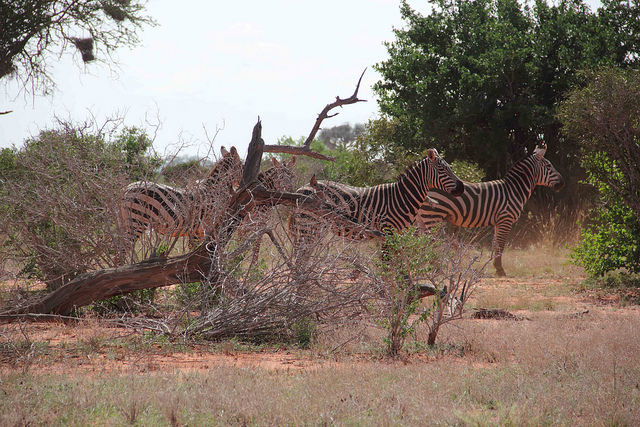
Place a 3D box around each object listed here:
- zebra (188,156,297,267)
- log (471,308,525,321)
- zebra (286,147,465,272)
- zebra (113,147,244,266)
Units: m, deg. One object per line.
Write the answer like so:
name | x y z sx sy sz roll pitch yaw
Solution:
zebra | -1.767 0.135 18.580 0.997 3.167 4.190 -8 7 -44
log | 3.941 2.264 16.175 1.051 0.277 0.627 6 -3 24
zebra | 1.311 -0.015 18.352 4.342 3.436 1.404 2 15 16
zebra | -3.344 -0.225 16.908 2.667 2.449 2.566 7 -3 -6
